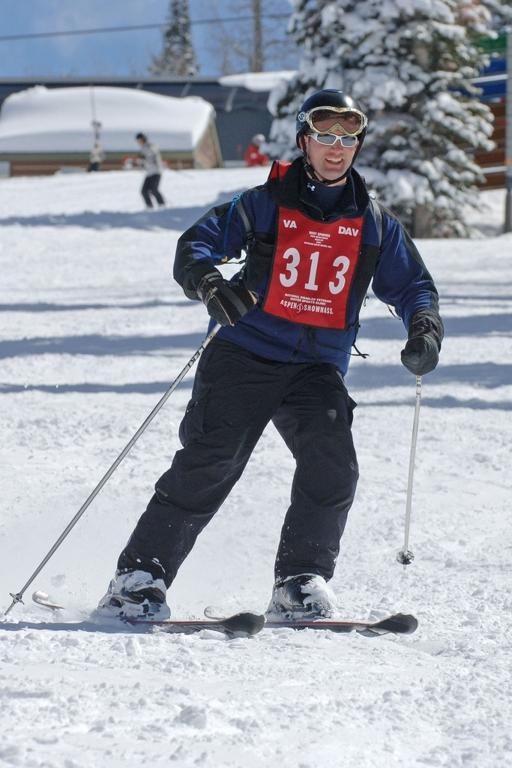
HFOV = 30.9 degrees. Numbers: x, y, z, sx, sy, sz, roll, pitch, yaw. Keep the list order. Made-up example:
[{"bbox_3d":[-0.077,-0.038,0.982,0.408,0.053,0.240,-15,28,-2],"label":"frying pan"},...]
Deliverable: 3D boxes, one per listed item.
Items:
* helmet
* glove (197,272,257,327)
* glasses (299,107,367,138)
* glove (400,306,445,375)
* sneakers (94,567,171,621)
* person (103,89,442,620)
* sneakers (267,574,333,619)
[{"bbox_3d":[0.231,-0.833,2.928,0.195,0.152,0.191,0,14,-16],"label":"helmet"},{"bbox_3d":[-0.071,-0.243,2.734,0.168,0.134,0.072,48,5,12],"label":"glove"},{"bbox_3d":[0.249,-0.828,2.900,0.138,0.047,0.126,1,3,-16],"label":"glasses"},{"bbox_3d":[0.516,-0.124,2.866,0.126,0.094,0.212,6,53,14],"label":"glove"},{"bbox_3d":[-0.358,0.622,2.685,0.202,0.123,0.123,1,-14,-14],"label":"sneakers"},{"bbox_3d":[0.102,-0.126,2.887,0.940,1.677,0.533,7,4,-2],"label":"person"},{"bbox_3d":[0.165,0.636,2.768,0.244,0.099,0.092,0,-4,-38],"label":"sneakers"}]
